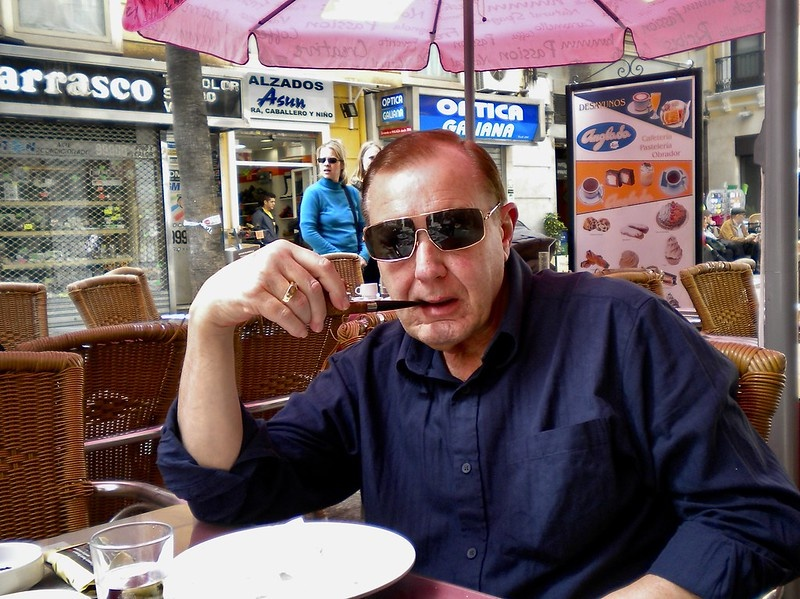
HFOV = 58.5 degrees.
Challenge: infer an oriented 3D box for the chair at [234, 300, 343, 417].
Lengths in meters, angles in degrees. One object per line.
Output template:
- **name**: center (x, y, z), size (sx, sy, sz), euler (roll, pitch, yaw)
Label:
- **chair**: center (-0.563, 0.252, 3.558), size (0.566, 0.532, 0.505), euler (-4, 5, -23)

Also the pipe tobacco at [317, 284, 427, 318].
- **pipe tobacco**: center (-0.054, 0.006, 1.873), size (0.218, 0.087, 0.337), euler (-1, 6, 11)

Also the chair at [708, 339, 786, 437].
- **chair**: center (0.988, 0.243, 1.983), size (0.231, 0.219, 0.259), euler (-1, -1, 29)

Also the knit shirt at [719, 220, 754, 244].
- **knit shirt**: center (6.622, -1.355, 14.234), size (0.566, 0.389, 0.536), euler (-5, 2, 36)
